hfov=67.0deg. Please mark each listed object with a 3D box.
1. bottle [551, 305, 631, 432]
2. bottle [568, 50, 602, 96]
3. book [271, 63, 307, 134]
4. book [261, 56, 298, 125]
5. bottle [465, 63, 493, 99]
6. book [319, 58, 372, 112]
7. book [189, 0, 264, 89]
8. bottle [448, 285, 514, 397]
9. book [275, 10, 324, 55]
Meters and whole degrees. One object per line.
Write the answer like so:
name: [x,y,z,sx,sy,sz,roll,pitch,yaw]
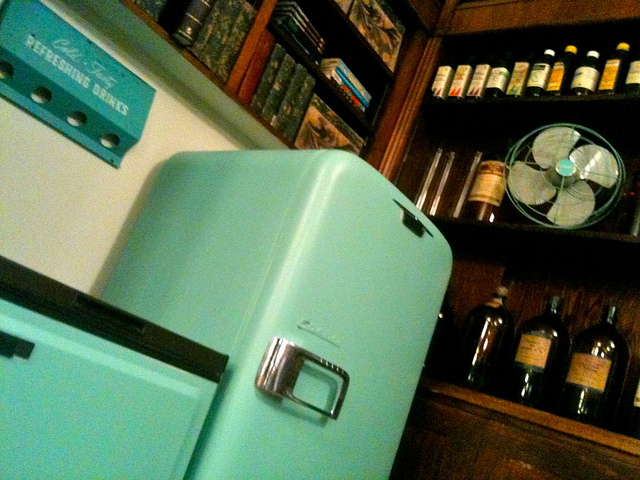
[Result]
bottle: [1.017,0.468,1.828,0.225,0.453,0.288,6,-20,38]
bottle: [1.140,-0.715,2.085,0.112,0.192,0.114,18,0,0]
book: [-0.131,-0.567,1.993,0.055,0.244,0.233,18,-45,-10]
book: [-0.164,-0.605,1.940,0.057,0.231,0.236,23,26,-7]
bottle: [0.742,-0.742,2.273,0.082,0.240,0.138,6,-16,28]
book: [0.118,-0.743,2.254,0.223,0.058,0.241,44,-2,41]
book: [-0.351,-0.713,1.749,0.104,0.308,0.325,19,0,13]
bottle: [0.654,0.424,1.953,0.178,0.455,0.176,21,-28,12]
book: [-0.097,-0.868,2.024,0.244,0.060,0.221,49,-7,-37]
